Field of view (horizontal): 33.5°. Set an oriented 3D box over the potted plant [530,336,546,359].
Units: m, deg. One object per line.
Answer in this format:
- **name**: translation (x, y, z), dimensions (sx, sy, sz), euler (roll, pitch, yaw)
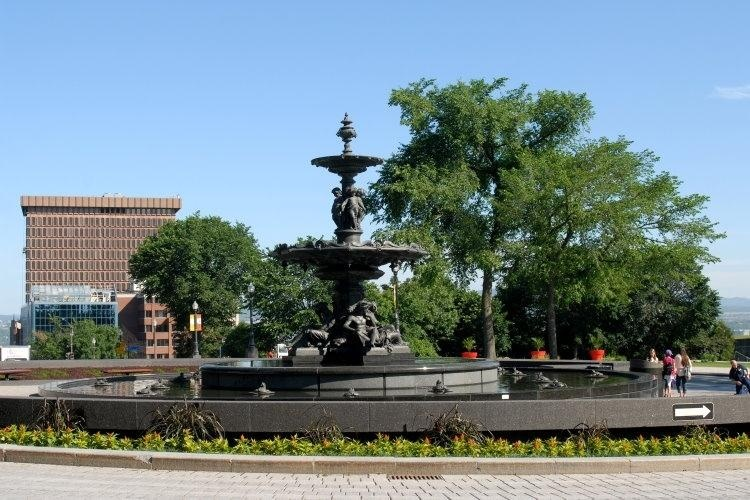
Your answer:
- **potted plant**: translation (10.051, 6.114, 76.972), dimensions (1.421, 1.540, 1.168), euler (0, -9, -5)
